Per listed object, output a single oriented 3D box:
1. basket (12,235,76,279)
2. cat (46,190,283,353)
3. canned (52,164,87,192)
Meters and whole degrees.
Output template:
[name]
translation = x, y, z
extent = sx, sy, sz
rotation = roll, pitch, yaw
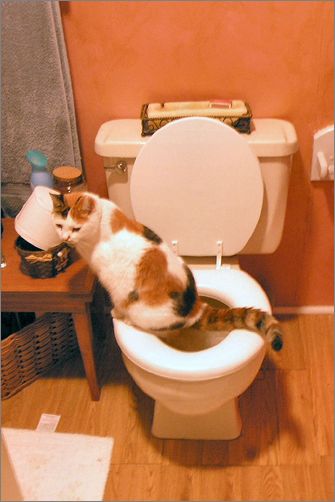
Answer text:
[basket]
translation = -0.322, 0.024, 1.155
extent = 0.122, 0.073, 0.113
rotation = 6, 41, -7
[cat]
translation = 0.019, 0.041, 0.983
extent = 0.514, 0.375, 0.175
rotation = 13, 42, 21
[canned]
translation = -0.256, -0.188, 1.184
extent = 0.070, 0.070, 0.065
rotation = 1, -6, 1
